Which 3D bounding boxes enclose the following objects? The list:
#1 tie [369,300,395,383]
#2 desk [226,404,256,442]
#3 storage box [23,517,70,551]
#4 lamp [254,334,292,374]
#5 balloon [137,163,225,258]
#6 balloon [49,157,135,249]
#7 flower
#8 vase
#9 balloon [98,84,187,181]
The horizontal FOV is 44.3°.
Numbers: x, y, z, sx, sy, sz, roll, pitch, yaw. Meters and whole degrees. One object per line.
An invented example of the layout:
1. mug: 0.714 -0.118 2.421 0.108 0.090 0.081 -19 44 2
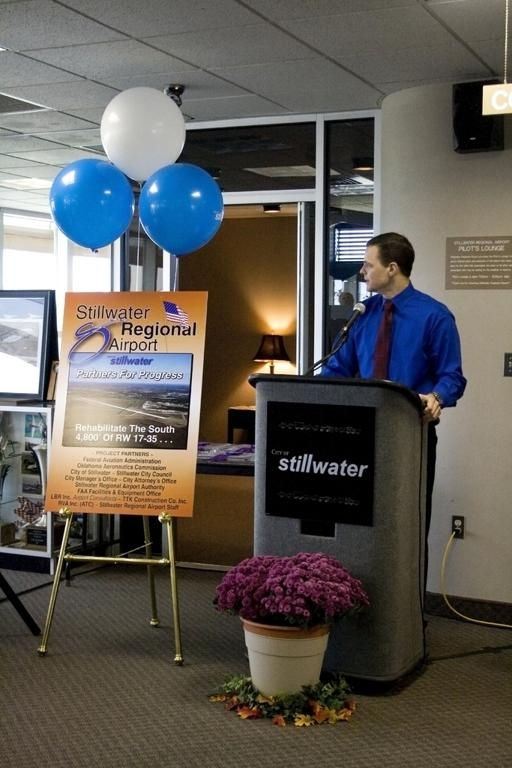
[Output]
1. tie: 0.487 -0.179 2.449 0.073 0.424 0.028 3 -33 10
2. desk: -0.141 0.404 6.104 0.329 0.455 0.336 1 6 4
3. storage box: -1.307 0.934 3.951 0.222 0.164 0.230 -1 -4 25
4. lamp: 0.170 -0.325 6.495 0.384 0.390 0.434 1 -6 -1
5. balloon: -0.349 -0.812 2.935 0.415 0.456 0.408 -7 18 -34
6. balloon: -0.733 -0.798 2.840 0.394 0.458 0.389 -3 9 -14
7. flower: 0.056 0.699 2.105 0.581 0.280 0.597 -7 -17 5
8. vase: 0.095 0.844 2.007 0.301 0.228 0.309 1 -1 13
9. balloon: -0.495 -1.178 3.058 0.430 0.517 0.429 -2 14 -6
